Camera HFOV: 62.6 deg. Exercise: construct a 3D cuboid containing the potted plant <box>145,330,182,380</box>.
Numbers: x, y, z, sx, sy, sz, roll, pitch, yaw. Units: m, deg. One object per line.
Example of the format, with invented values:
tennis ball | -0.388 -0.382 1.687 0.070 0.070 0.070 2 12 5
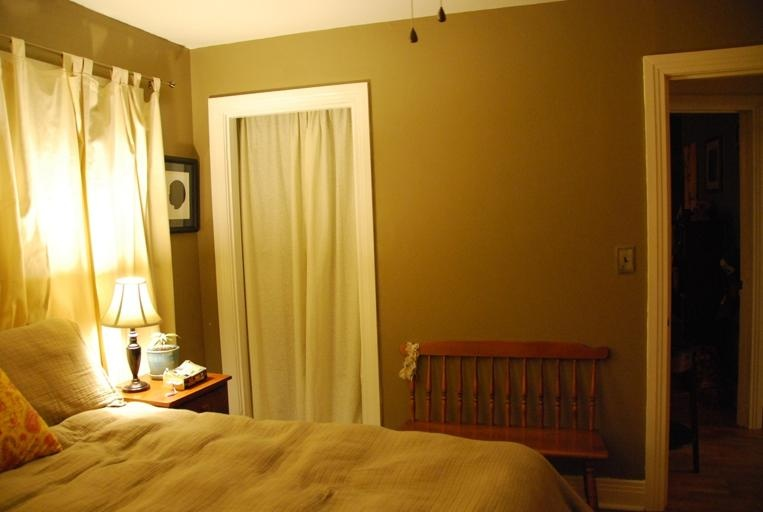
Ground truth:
potted plant | -1.544 0.721 4.496 0.281 0.385 0.286 1 -8 -10
